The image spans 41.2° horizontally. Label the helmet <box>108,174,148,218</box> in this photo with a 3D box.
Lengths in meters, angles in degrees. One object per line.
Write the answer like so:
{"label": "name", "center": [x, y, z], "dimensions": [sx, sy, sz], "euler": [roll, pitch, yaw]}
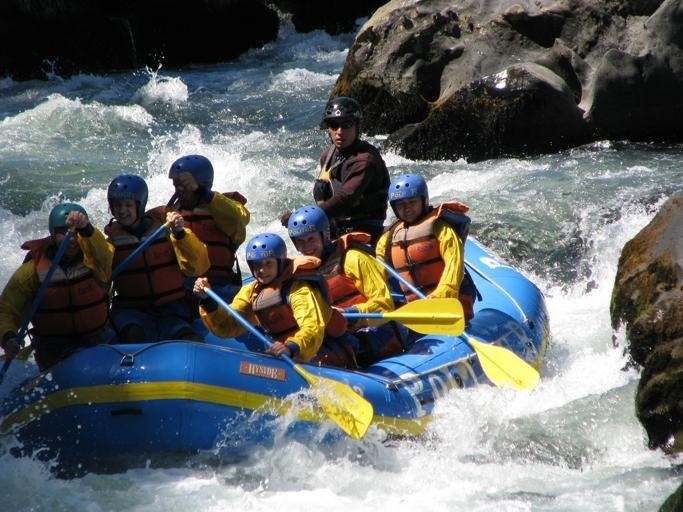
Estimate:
{"label": "helmet", "center": [-2.064, -0.546, 8.590], "dimensions": [0.337, 0.431, 0.437], "euler": [-4, 1, -2]}

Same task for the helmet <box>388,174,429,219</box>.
{"label": "helmet", "center": [0.619, -0.575, 9.132], "dimensions": [0.309, 0.379, 0.415], "euler": [-8, -9, 0]}

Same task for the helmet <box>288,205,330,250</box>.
{"label": "helmet", "center": [-0.357, -0.216, 8.502], "dimensions": [0.307, 0.400, 0.398], "euler": [-8, -3, -4]}

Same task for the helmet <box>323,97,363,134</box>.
{"label": "helmet", "center": [0.001, -1.355, 9.207], "dimensions": [0.343, 0.453, 0.477], "euler": [-4, 7, 7]}

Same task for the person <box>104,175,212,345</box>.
{"label": "person", "center": [-1.731, 0.091, 8.570], "dimensions": [0.817, 0.929, 1.508], "euler": [-13, 51, -17]}

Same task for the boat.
{"label": "boat", "center": [-0.414, 1.037, 8.113], "dimensions": [3.347, 0.746, 2.034], "euler": [-17, 48, -29]}

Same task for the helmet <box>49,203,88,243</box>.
{"label": "helmet", "center": [-2.483, -0.310, 8.243], "dimensions": [0.304, 0.394, 0.396], "euler": [-2, -5, -20]}

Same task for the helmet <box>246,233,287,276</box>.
{"label": "helmet", "center": [-0.682, -0.027, 8.140], "dimensions": [0.301, 0.383, 0.417], "euler": [4, 9, 16]}

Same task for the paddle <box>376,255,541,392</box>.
{"label": "paddle", "center": [1.082, 0.694, 8.745], "dimensions": [1.962, 0.405, 0.144], "euler": [41, 22, 24]}

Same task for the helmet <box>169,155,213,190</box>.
{"label": "helmet", "center": [-1.500, -0.842, 9.064], "dimensions": [0.391, 0.328, 0.296], "euler": [-27, 23, -8]}
